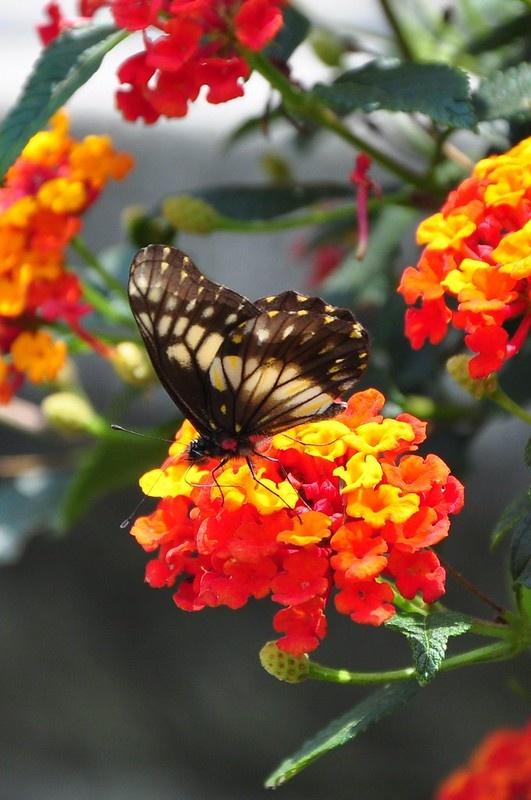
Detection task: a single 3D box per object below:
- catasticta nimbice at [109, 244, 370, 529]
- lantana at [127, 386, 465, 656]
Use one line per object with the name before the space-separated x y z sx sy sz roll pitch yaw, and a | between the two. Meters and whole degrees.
catasticta nimbice | -0.029 -0.010 0.748 0.246 0.234 0.194 -13 75 -18
lantana | 0.039 0.103 0.717 0.215 0.225 0.203 -14 29 -21
